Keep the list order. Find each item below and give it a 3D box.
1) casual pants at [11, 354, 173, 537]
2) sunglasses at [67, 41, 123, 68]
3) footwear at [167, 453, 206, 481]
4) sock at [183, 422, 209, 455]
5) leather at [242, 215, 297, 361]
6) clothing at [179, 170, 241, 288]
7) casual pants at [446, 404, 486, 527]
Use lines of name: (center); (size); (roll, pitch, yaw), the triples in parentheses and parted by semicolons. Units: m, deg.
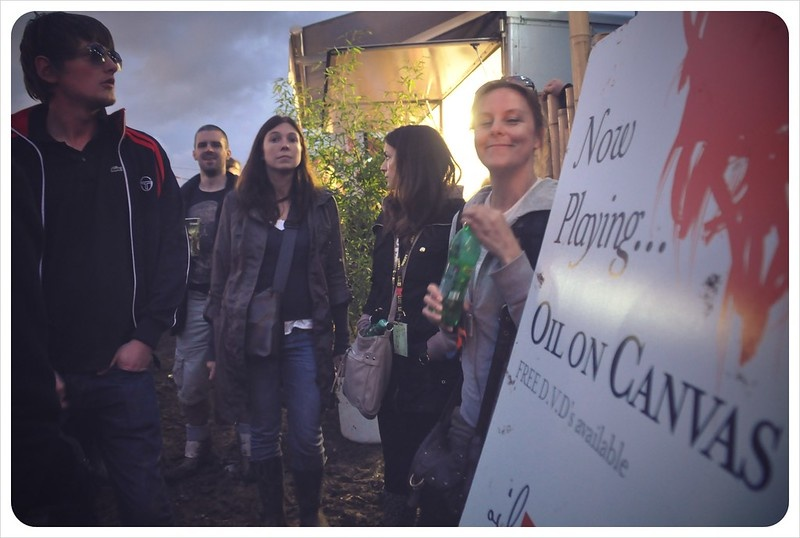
casual pants: (-1.348, 0.760, 2.407); (0.688, 0.927, 0.330); (-2, -10, -36)
sunglasses: (-1.304, -0.938, 2.440); (0.179, 0.091, 0.041); (-7, 11, -40)
footwear: (-1.363, 1.271, 3.571); (0.133, 0.038, 0.121); (3, 15, 25)
sock: (-1.345, 1.131, 3.721); (0.176, 0.215, 0.170); (16, -19, -41)
leather: (-0.652, 0.108, 2.940); (0.143, 0.637, 0.320); (6, 10, 33)
clothing: (-1.342, -0.276, 3.917); (0.542, 0.742, 0.248); (1, 4, 8)
casual pants: (0.237, 0.745, 2.138); (0.112, 0.371, 0.216); (-1, 9, -7)
